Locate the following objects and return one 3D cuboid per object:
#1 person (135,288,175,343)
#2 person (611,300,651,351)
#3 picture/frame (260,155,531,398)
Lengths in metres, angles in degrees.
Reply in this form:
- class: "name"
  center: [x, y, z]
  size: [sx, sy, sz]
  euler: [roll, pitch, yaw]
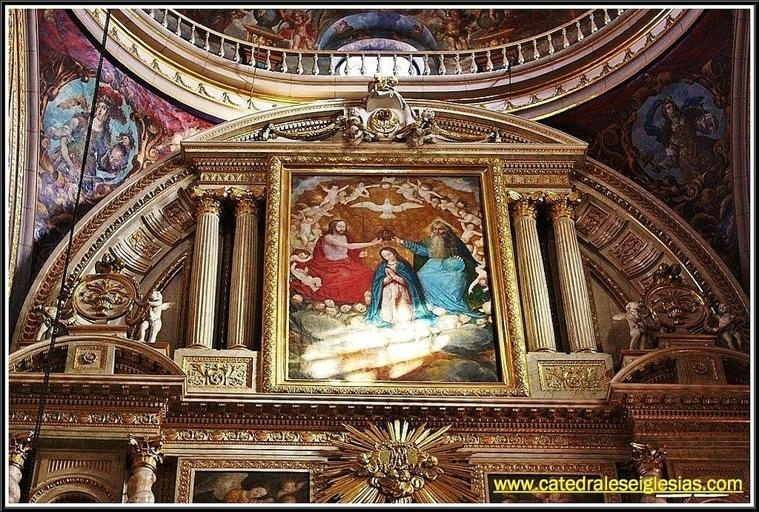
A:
- class: "person"
  center: [-3.141, 0.868, 13.202]
  size: [0.565, 0.858, 0.272]
  euler: [10, -30, -11]
- class: "person"
  center: [3.591, 1.017, 13.526]
  size: [0.718, 0.841, 0.288]
  euler: [2, -30, 0]
- class: "picture/frame"
  center: [0.183, 0.410, 13.611]
  size: [4.123, 4.046, 0.304]
  euler: [1, -34, -3]
